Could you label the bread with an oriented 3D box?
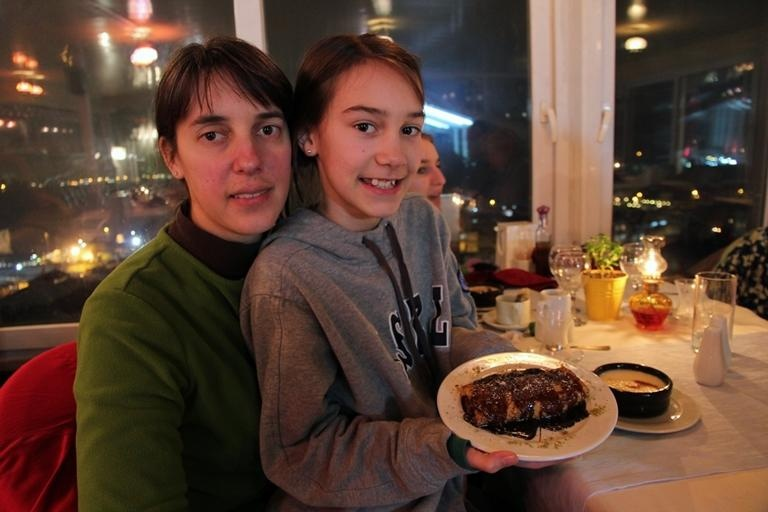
[{"bbox_3d":[0.423,0.419,1.764,0.288,0.084,0.171,-3,29,-2],"label":"bread"}]
